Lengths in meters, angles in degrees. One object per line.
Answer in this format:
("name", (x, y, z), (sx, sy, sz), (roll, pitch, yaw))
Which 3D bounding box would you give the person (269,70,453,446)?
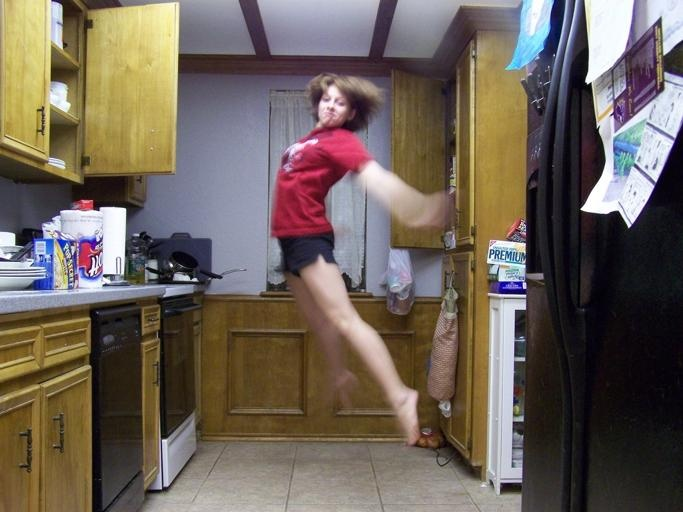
("person", (-0.020, -0.049, 2.632), (0.612, 1.539, 1.241), (0, 1, -12))

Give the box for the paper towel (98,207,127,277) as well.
("paper towel", (-1.113, -0.056, 2.709), (0.106, 0.306, 0.111), (5, 6, 32))

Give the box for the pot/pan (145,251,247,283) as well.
("pot/pan", (-0.900, 0.066, 3.477), (0.268, 0.186, 0.628), (1, 1, 27))

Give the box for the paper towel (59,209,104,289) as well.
("paper towel", (-1.081, -0.033, 2.393), (0.146, 0.319, 0.206), (-1, 2, -35))

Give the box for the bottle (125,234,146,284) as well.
("bottle", (-1.120, 0.011, 3.136), (0.115, 0.259, 0.609), (0, 1, -21))
